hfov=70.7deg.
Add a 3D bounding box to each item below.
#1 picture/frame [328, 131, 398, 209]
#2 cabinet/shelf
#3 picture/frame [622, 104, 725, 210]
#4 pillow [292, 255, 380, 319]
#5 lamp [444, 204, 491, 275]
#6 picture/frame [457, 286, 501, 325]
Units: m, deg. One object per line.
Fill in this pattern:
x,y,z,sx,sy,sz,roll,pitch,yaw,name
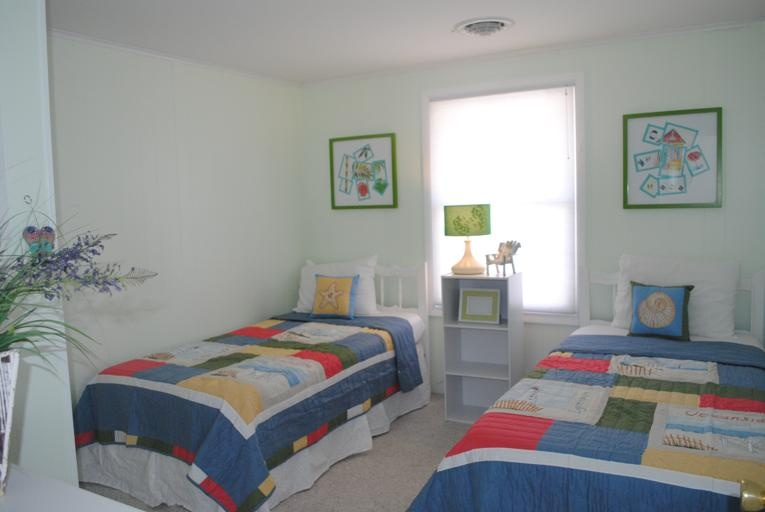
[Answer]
-0.155,-0.817,5.080,0.727,0.730,0.039,2,8,28,picture/frame
0.802,0.763,4.439,0.568,1.133,0.419,-1,7,25,cabinet/shelf
2.254,-0.769,4.120,0.814,0.887,0.061,0,2,19,picture/frame
-0.393,0.303,4.888,0.536,0.395,0.196,-2,-12,22,pillow
0.696,-0.137,4.525,0.362,0.589,0.322,0,6,4,lamp
0.810,0.422,4.461,0.306,0.268,0.026,-1,-11,23,picture/frame
